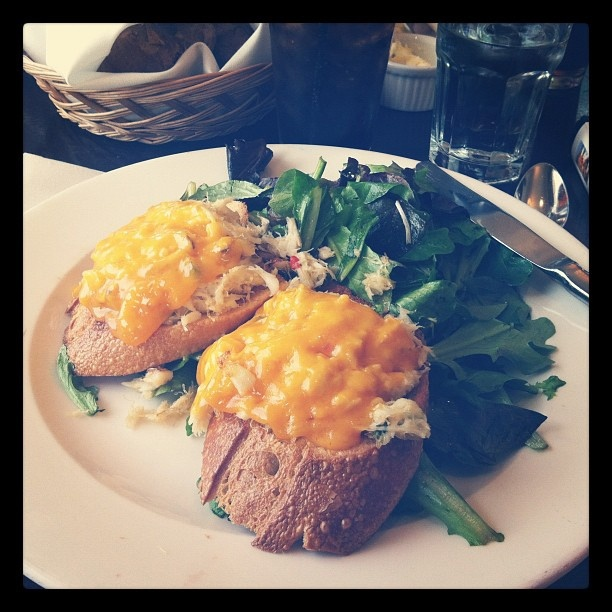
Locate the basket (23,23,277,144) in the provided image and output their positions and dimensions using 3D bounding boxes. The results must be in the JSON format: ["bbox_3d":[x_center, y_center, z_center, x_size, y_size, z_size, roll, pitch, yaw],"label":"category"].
[{"bbox_3d":[-0.786,-1.256,3.630,1.053,0.261,0.966,-18,36,-26],"label":"basket"}]

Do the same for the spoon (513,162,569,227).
[{"bbox_3d":[1.268,-0.613,3.463,0.192,0.072,0.475,5,51,17],"label":"spoon"}]
